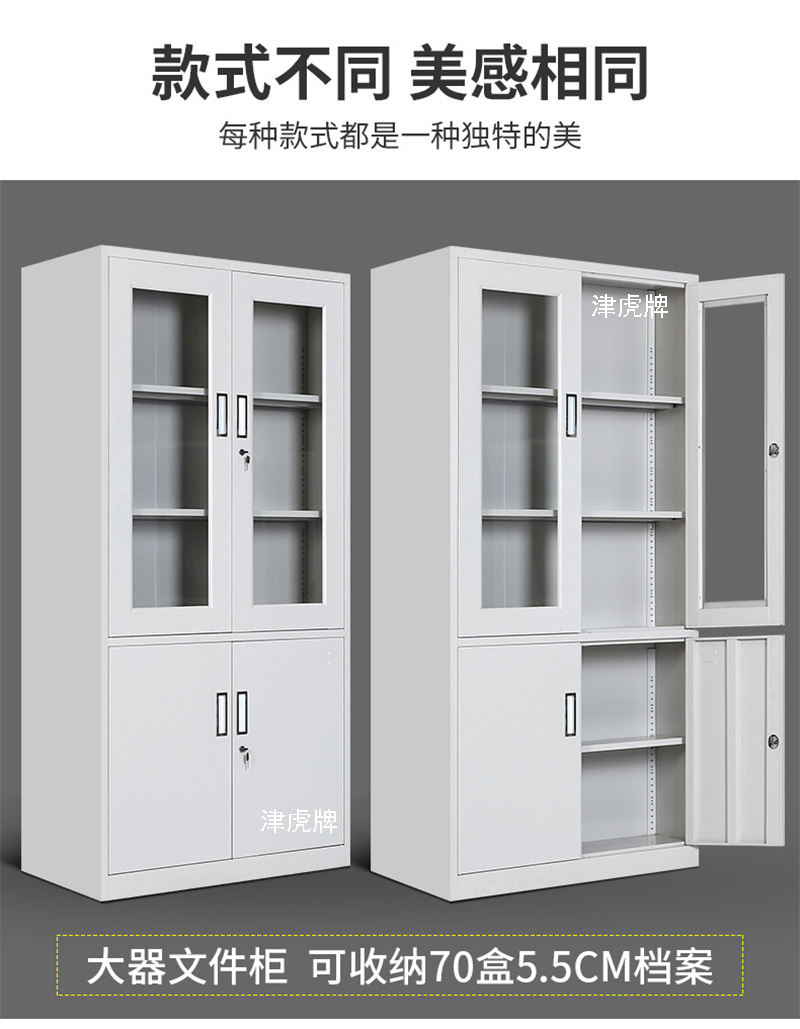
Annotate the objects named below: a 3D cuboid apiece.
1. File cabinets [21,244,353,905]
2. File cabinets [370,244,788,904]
[{"bbox_3d":[-0.748,0.218,3.268,1.211,2.173,0.848,2,7,-3],"label":"File cabinets"},{"bbox_3d":[0.626,0.214,3.422,1.396,2.213,0.734,0,8,-19],"label":"File cabinets"}]
